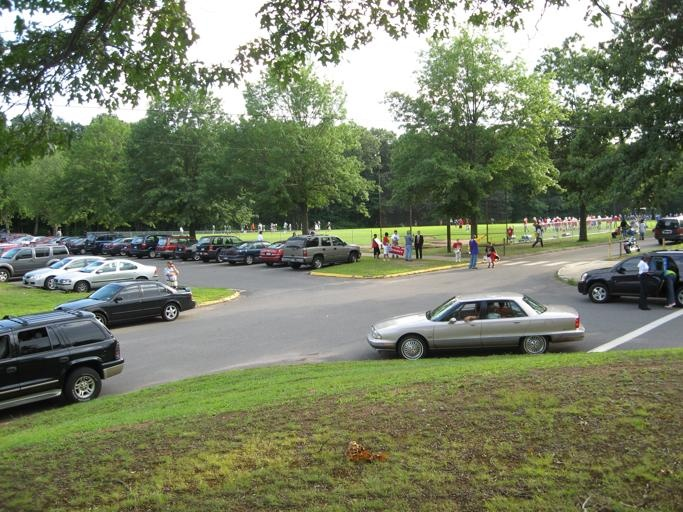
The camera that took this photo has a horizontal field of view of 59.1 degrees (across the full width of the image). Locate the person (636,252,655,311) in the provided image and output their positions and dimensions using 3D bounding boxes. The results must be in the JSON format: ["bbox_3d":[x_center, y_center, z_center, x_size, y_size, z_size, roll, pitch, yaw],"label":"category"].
[{"bbox_3d":[10.207,0.871,20.406,0.375,1.780,1.045,-3,2,26],"label":"person"}]

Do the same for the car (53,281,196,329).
[{"bbox_3d":[-7.325,1.639,20.781,3.676,1.168,1.464,4,-4,-43],"label":"car"}]

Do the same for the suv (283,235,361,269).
[{"bbox_3d":[-1.170,-0.334,38.147,2.156,1.572,5.304,-3,2,45],"label":"suv"}]

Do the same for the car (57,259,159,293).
[{"bbox_3d":[-10.973,0.889,28.068,3.914,1.313,1.697,-1,1,-35],"label":"car"}]

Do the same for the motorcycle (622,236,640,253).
[{"bbox_3d":[18.939,-0.740,39.797,1.088,1.296,2.328,0,11,31],"label":"motorcycle"}]
